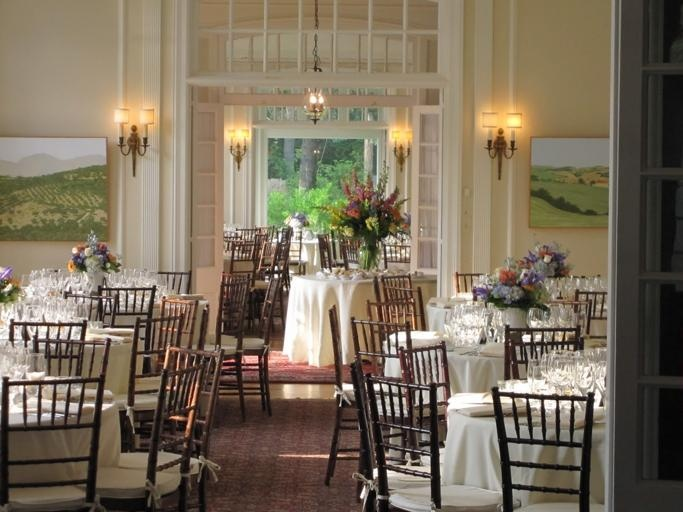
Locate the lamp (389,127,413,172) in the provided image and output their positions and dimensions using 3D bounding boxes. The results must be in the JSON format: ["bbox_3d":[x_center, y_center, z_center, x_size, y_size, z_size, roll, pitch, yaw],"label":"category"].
[{"bbox_3d":[1.314,-2.290,16.698,0.411,0.881,0.218,2,9,3],"label":"lamp"}]

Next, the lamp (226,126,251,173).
[{"bbox_3d":[-2.245,-2.371,16.853,0.503,0.975,0.623,-1,5,-9],"label":"lamp"}]

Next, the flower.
[{"bbox_3d":[0.392,-0.384,9.963,0.836,1.119,0.930,5,11,33],"label":"flower"}]

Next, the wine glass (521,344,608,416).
[{"bbox_3d":[1.120,0.657,4.013,0.277,0.543,0.346,0,-6,2],"label":"wine glass"}]

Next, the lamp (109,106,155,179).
[{"bbox_3d":[-2.571,-1.372,9.473,0.422,0.868,0.216,0,5,-17],"label":"lamp"}]
